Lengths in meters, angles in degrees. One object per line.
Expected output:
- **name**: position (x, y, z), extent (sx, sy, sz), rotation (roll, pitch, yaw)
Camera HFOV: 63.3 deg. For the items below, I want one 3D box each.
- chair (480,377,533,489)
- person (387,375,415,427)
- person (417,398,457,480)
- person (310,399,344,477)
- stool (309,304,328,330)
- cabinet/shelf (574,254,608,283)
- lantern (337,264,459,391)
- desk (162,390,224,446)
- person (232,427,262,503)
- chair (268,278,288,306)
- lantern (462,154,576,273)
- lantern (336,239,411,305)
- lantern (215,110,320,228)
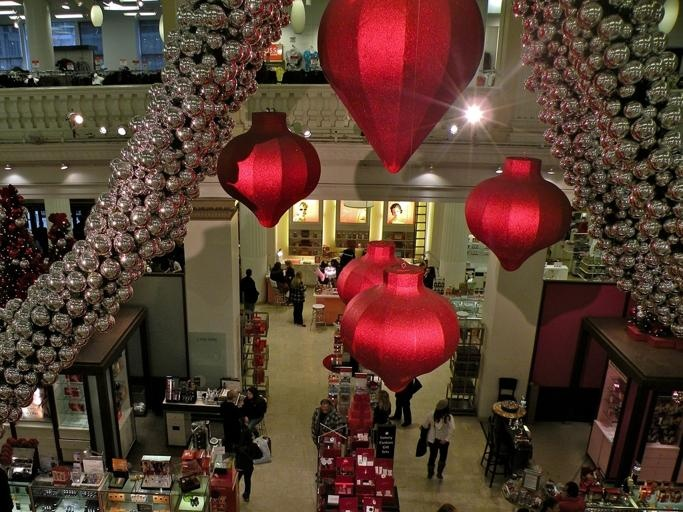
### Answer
- **chair**: position (2.620, 2.970, 8.691), extent (0.631, 1.269, 1.125), rotation (0, 0, -13)
- **person**: position (1.124, 2.596, 9.997), extent (0.303, 1.014, 0.304), rotation (10, 37, 21)
- **person**: position (1.511, 2.896, 8.799), extent (0.481, 1.288, 0.544), rotation (0, 0, -42)
- **person**: position (-0.212, 2.700, 8.473), extent (0.473, 1.014, 1.108), rotation (0, -1, -2)
- **stool**: position (-0.608, 1.476, 13.785), extent (0.365, 0.587, 0.960), rotation (0, -1, -3)
- **cabinet/shelf**: position (4.615, 0.206, 10.143), extent (0.642, 0.502, 0.663), rotation (0, -1, 1)
- **lantern**: position (0.340, 0.368, 3.650), extent (0.691, 0.809, 0.693), rotation (-5, 11, -19)
- **desk**: position (-2.475, 2.676, 9.165), extent (0.897, 0.791, 0.346), rotation (0, 8, -1)
- **person**: position (-1.381, 3.112, 8.235), extent (0.398, 1.074, 0.738), rotation (0, 0, -11)
- **chair**: position (-1.749, 0.976, 14.848), extent (0.668, 0.867, 0.615), rotation (0, 7, 8)
- **lantern**: position (1.344, -0.371, 4.302), extent (0.761, 0.856, 0.741), rotation (-11, 17, -41)
- **lantern**: position (0.237, 0.122, 4.474), extent (0.473, 0.546, 0.482), rotation (2, 15, -5)
- **lantern**: position (-0.504, -0.640, 4.243), extent (0.737, 0.834, 0.755), rotation (-1, 4, 0)
